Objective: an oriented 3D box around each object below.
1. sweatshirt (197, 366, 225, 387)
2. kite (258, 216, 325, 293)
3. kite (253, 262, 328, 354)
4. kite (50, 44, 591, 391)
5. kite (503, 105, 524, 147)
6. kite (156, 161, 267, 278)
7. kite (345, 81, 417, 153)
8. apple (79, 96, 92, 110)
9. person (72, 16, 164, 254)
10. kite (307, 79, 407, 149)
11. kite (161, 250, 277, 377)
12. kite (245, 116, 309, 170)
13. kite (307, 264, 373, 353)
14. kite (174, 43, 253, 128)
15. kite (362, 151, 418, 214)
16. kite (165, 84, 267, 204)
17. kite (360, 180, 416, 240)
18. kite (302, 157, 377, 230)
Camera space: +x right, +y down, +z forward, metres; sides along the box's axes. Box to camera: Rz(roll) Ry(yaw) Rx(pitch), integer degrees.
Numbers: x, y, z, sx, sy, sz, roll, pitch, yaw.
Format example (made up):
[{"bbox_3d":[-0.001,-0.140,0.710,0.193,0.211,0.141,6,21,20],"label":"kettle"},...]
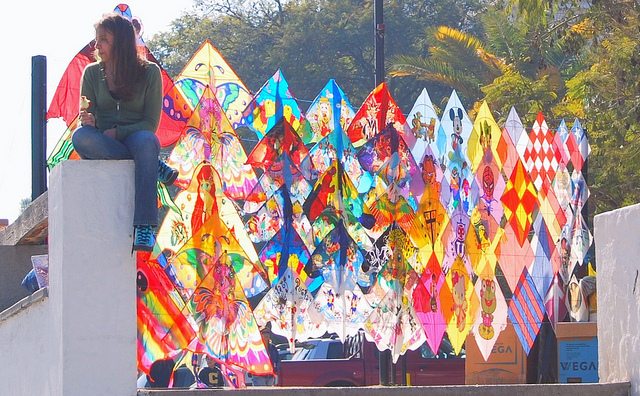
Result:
[{"bbox_3d":[-1.954,3.259,29.212,0.340,0.328,0.059,2,6,0],"label":"sweatshirt"},{"bbox_3d":[-0.536,1.122,29.545,1.271,1.444,0.172,-1,-7,-13],"label":"kite"},{"bbox_3d":[-0.540,1.968,29.579,1.710,2.361,0.156,0,-2,-11],"label":"kite"},{"bbox_3d":[0.039,0.682,29.971,7.215,4.392,0.104,-2,-2,-10],"label":"kite"},{"bbox_3d":[3.729,-1.327,30.639,0.427,0.892,0.032,7,-43,-4],"label":"kite"},{"bbox_3d":[-1.994,0.449,29.297,1.810,1.833,0.069,7,-9,-11],"label":"kite"},{"bbox_3d":[1.094,-1.477,30.106,1.412,1.290,0.936,7,-12,-9],"label":"kite"},{"bbox_3d":[-4.095,-1.668,28.434,0.193,0.248,0.203,-7,-9,13],"label":"apple"},{"bbox_3d":[-3.406,-1.110,28.333,1.436,4.207,0.414,-4,-8,-6],"label":"person"},{"bbox_3d":[0.765,-1.677,32.613,2.631,1.820,0.121,0,9,-3],"label":"kite"},{"bbox_3d":[-1.701,1.969,29.297,2.605,2.324,0.062,15,-22,-30],"label":"kite"},{"bbox_3d":[-0.685,-1.040,29.844,1.401,1.065,0.722,6,4,-30],"label":"kite"},{"bbox_3d":[0.463,1.956,29.683,1.390,1.805,0.095,14,-41,-13],"label":"kite"},{"bbox_3d":[-2.009,-2.015,29.518,1.713,2.310,0.063,5,-25,-15],"label":"kite"},{"bbox_3d":[1.378,-0.308,29.898,1.146,1.045,0.077,5,7,-18],"label":"kite"},{"bbox_3d":[-1.944,-1.056,29.440,2.297,2.160,0.031,6,-11,-37],"label":"kite"},{"bbox_3d":[1.395,0.168,29.889,1.407,1.360,0.153,3,-5,-37],"label":"kite"},{"bbox_3d":[0.330,-0.024,29.733,1.198,1.085,0.016,2,2,-2],"label":"kite"}]
